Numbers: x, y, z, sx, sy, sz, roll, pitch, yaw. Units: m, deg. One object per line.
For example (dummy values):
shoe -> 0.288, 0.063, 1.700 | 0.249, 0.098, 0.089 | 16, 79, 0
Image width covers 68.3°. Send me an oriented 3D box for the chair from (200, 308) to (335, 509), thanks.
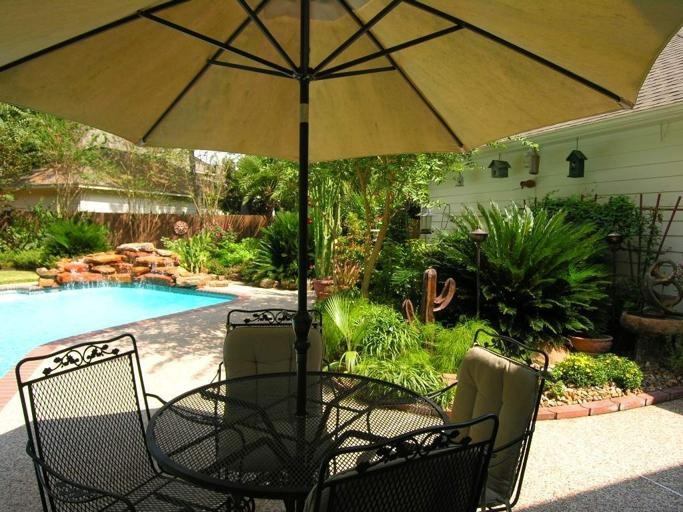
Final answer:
chair -> -0.486, 0.865, 3.157 | 0.926, 1.353, 1.076 | 1, -2, -2
